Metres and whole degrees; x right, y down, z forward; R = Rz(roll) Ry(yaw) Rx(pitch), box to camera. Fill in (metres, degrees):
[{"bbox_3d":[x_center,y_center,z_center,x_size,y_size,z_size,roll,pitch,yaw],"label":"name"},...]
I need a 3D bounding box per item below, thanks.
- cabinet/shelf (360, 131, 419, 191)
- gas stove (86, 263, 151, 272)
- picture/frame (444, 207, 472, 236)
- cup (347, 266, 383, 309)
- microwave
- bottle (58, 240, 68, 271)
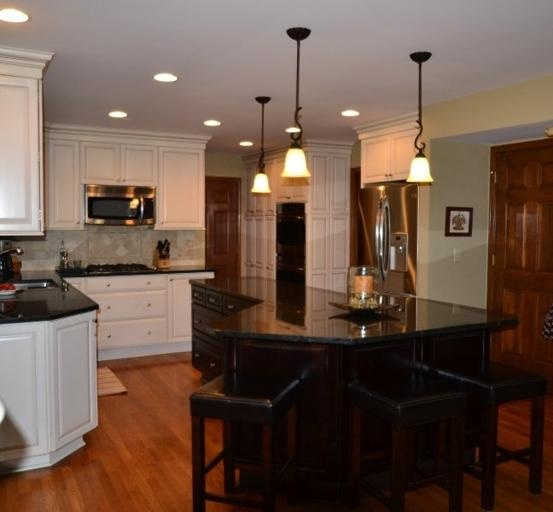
[{"bbox_3d":[1.116,-0.928,4.956,0.341,0.586,0.858,-7,10,-33],"label":"cabinet/shelf"},{"bbox_3d":[-1.788,0.130,5.746,0.669,0.055,0.721,-2,4,-20],"label":"gas stove"},{"bbox_3d":[1.709,-0.335,4.820,0.320,0.274,0.030,0,2,-31],"label":"picture/frame"},{"bbox_3d":[0.480,0.175,2.798,0.241,0.237,0.227,0,0,0],"label":"cup"},{"bbox_3d":[-1.759,-0.567,5.652,0.796,0.451,0.442,0,1,-28],"label":"microwave"},{"bbox_3d":[-2.338,-0.017,5.597,0.102,0.299,0.451,-2,5,-22],"label":"bottle"}]
